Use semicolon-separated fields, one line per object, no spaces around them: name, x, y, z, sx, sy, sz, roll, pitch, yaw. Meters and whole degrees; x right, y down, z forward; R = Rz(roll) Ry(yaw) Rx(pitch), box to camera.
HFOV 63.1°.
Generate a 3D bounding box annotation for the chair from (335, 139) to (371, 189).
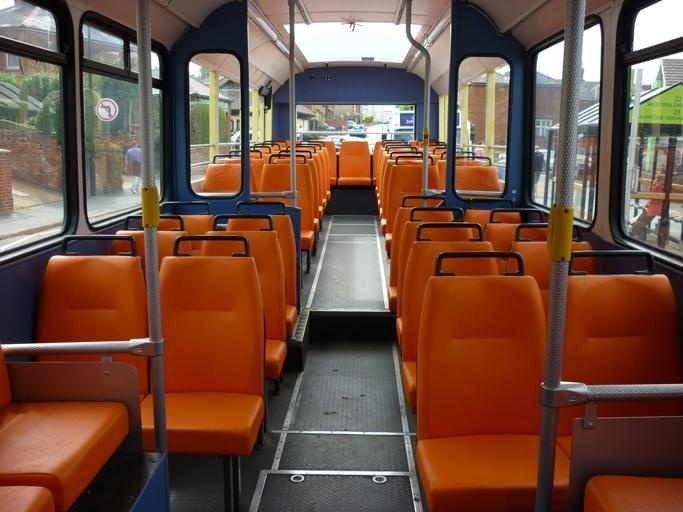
chair;0.283;-2.085;12.581;0.767;0.942;1.537;0;13;2
